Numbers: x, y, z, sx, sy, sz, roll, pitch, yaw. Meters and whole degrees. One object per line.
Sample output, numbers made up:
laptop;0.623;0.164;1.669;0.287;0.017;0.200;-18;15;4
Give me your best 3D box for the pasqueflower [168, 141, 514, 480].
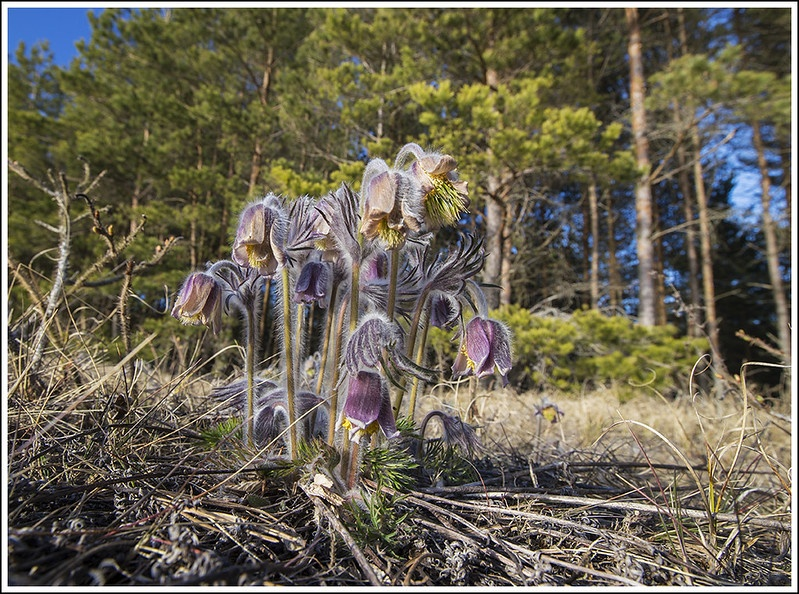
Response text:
pasqueflower;-0.168;-0.051;3.433;1.033;2.006;1.506;7;-6;-31
